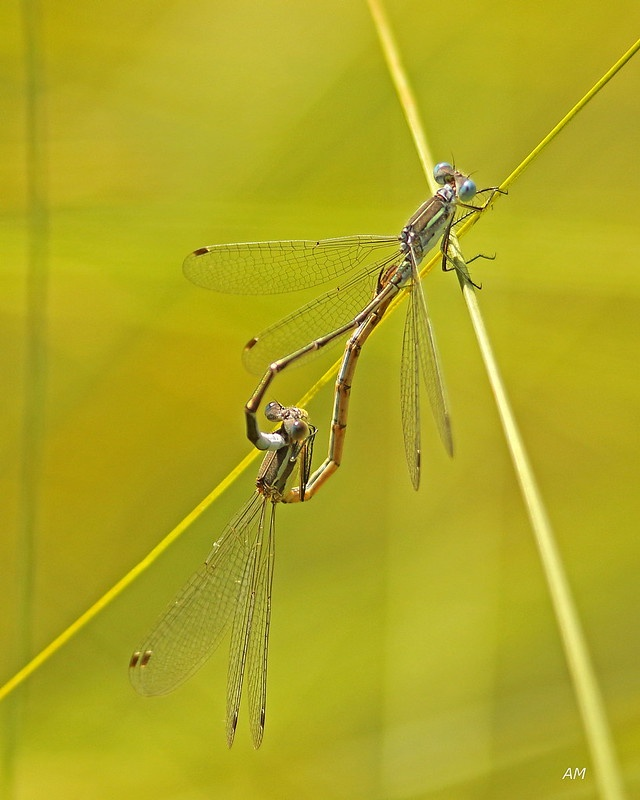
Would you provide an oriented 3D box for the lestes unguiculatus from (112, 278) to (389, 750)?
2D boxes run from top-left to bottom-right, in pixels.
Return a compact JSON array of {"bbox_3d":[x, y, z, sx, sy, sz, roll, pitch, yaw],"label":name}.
[{"bbox_3d":[-0.079,0.137,1.129,0.192,0.209,0.513,27,-96,-3],"label":"lestes unguiculatus"}]

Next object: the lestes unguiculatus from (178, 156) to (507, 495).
[{"bbox_3d":[0.085,-0.082,1.240,0.201,0.441,0.456,22,-80,-41],"label":"lestes unguiculatus"}]
